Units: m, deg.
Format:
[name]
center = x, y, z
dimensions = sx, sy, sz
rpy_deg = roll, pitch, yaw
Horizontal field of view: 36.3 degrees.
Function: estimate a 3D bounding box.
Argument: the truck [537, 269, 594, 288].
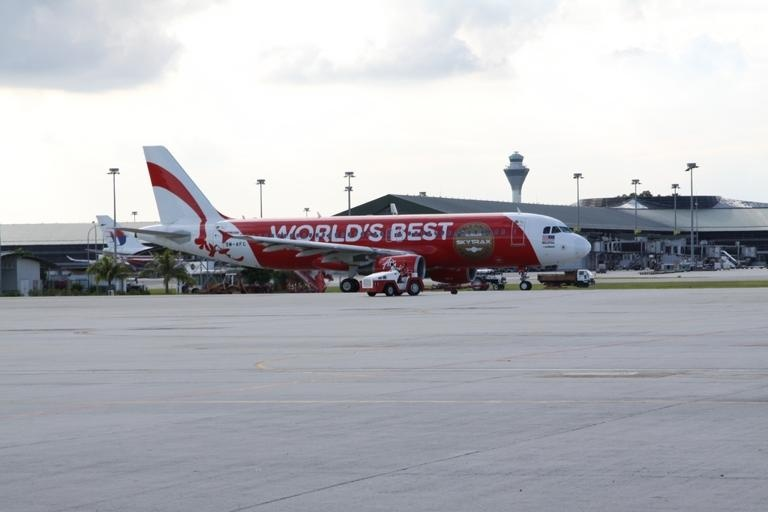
[truck]
center = 12.917, 1.559, 83.994
dimensions = 3.612, 0.926, 1.563
rpy_deg = 0, 1, 19
